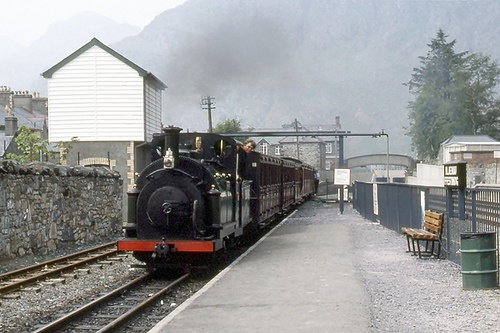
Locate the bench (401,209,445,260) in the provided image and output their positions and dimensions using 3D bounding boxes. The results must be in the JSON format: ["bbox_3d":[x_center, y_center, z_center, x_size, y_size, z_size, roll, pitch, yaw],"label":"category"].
[{"bbox_3d":[5.332,2.073,15.399,0.925,1.397,2.441,0,-2,11],"label":"bench"}]
